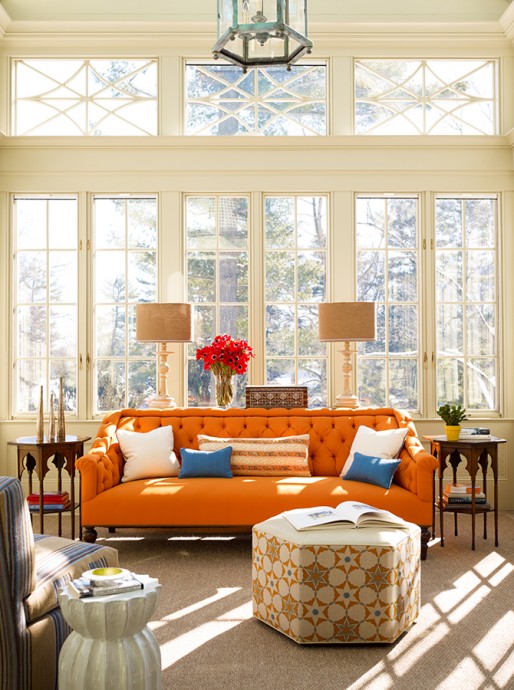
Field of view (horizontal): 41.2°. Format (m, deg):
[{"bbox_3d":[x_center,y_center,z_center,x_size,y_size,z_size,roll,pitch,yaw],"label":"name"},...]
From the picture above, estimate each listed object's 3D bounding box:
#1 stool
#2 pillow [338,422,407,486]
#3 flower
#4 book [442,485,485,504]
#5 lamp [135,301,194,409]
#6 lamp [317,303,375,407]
[{"bbox_3d":[0.349,1.002,3.014,0.556,0.333,0.584,-1,0,15],"label":"stool"},{"bbox_3d":[0.753,0.699,4.410,0.365,0.348,0.111,3,-25,47],"label":"pillow"},{"bbox_3d":[-0.246,0.204,5.119,0.404,0.540,0.188,0,-1,-2],"label":"flower"},{"bbox_3d":[1.344,0.977,4.448,0.161,0.053,0.150,0,-1,4],"label":"book"},{"bbox_3d":[-0.692,0.087,5.141,0.395,0.777,0.578,0,-1,-6],"label":"lamp"},{"bbox_3d":[0.633,0.069,5.115,0.390,0.796,0.585,0,-1,-4],"label":"lamp"}]
